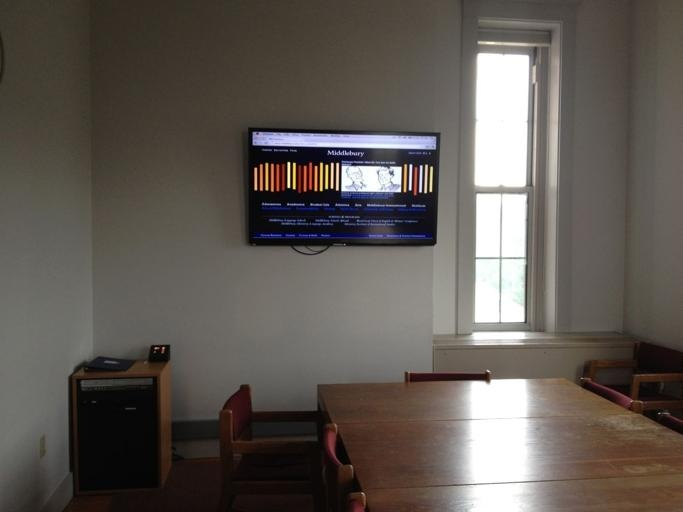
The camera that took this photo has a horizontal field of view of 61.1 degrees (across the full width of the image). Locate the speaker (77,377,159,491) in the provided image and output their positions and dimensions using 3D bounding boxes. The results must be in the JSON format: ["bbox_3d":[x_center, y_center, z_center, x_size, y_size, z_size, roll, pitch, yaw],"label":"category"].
[{"bbox_3d":[-1.659,1.321,4.306,0.575,0.798,0.200,-2,14,-4],"label":"speaker"}]

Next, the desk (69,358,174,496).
[{"bbox_3d":[-1.688,1.278,4.593,0.665,0.925,0.679,2,8,-2],"label":"desk"}]
